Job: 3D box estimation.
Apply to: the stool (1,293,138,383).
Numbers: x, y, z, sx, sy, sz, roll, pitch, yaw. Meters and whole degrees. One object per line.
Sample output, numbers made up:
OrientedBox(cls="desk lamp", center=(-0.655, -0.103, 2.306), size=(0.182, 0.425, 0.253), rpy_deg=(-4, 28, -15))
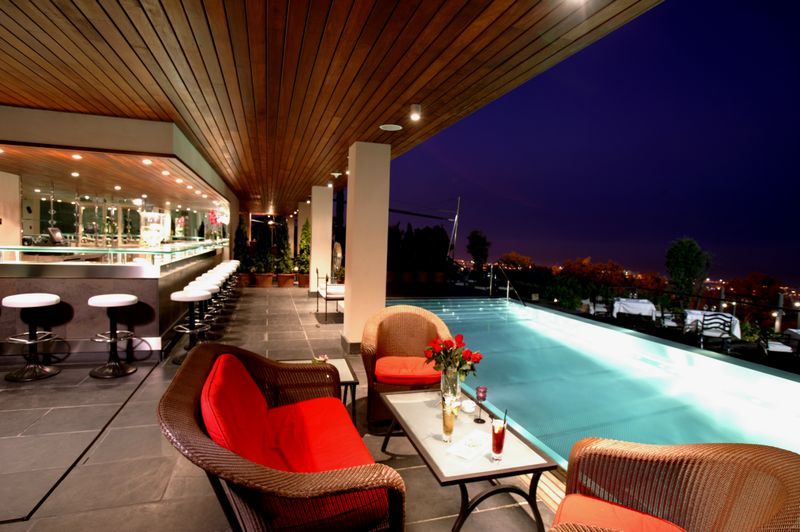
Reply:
OrientedBox(cls="stool", center=(-4.421, 0.972, 5.683), size=(1.034, 0.689, 0.402), rpy_deg=(4, 17, -18))

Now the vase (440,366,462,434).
OrientedBox(cls="vase", center=(0.419, 1.255, 3.766), size=(0.209, 0.636, 0.210), rpy_deg=(-3, -20, 26))

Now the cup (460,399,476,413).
OrientedBox(cls="cup", center=(0.622, 1.285, 3.862), size=(0.119, 0.083, 0.090), rpy_deg=(-4, 10, -16))

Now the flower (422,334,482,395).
OrientedBox(cls="flower", center=(0.513, 0.889, 4.016), size=(0.552, 0.540, 0.539), rpy_deg=(11, -6, -28))

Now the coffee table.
OrientedBox(cls="coffee table", center=(0.576, 1.467, 3.476), size=(0.821, 0.423, 1.697), rpy_deg=(-4, 8, -19))

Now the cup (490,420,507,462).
OrientedBox(cls="cup", center=(0.772, 1.351, 3.319), size=(0.085, 0.300, 0.138), rpy_deg=(-1, -1, 11))

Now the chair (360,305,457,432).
OrientedBox(cls="chair", center=(-0.057, 1.111, 5.172), size=(1.165, 1.325, 1.240), rpy_deg=(1, -3, -4))
